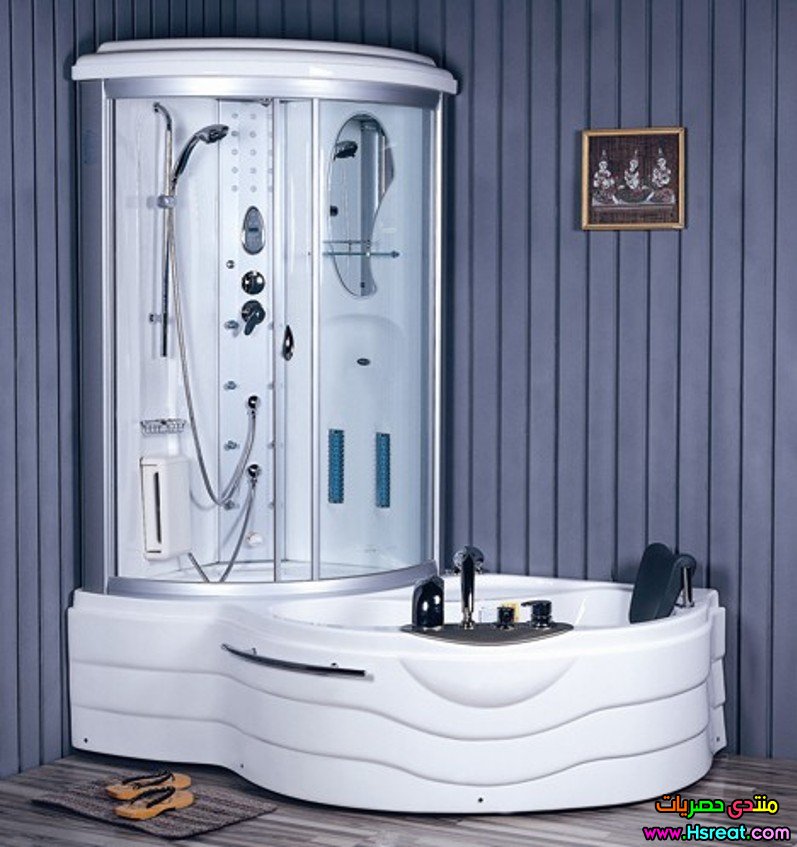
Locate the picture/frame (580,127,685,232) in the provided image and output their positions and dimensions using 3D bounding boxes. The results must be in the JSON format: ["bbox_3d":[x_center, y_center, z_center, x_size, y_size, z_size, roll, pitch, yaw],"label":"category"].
[{"bbox_3d":[0.847,-0.889,4.556,0.361,0.476,0.022,0,-30,11],"label":"picture/frame"}]

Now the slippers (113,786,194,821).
[{"bbox_3d":[-0.738,1.166,3.828,0.178,0.074,0.091,-6,8,-33],"label":"slippers"}]

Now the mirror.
[{"bbox_3d":[-0.129,-0.776,4.478,0.275,0.633,0.059,-3,4,-33],"label":"mirror"}]

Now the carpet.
[{"bbox_3d":[-0.754,1.181,3.895,0.723,0.029,0.424,2,5,35],"label":"carpet"}]

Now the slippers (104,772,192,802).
[{"bbox_3d":[-0.777,1.146,3.958,0.180,0.043,0.102,1,-1,-42],"label":"slippers"}]
